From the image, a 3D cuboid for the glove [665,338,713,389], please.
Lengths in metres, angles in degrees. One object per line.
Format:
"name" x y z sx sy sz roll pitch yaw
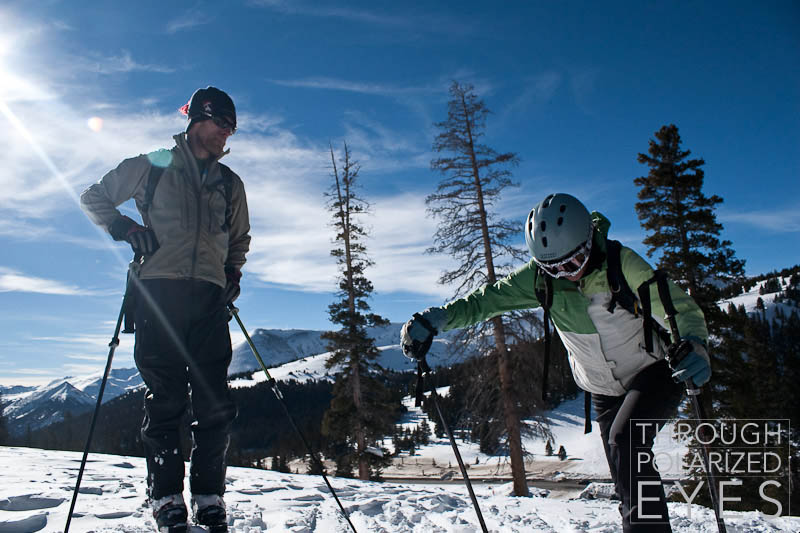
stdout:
"glove" 3.853 1.279 9.080 0.518 0.649 0.334 -7 -18 16
